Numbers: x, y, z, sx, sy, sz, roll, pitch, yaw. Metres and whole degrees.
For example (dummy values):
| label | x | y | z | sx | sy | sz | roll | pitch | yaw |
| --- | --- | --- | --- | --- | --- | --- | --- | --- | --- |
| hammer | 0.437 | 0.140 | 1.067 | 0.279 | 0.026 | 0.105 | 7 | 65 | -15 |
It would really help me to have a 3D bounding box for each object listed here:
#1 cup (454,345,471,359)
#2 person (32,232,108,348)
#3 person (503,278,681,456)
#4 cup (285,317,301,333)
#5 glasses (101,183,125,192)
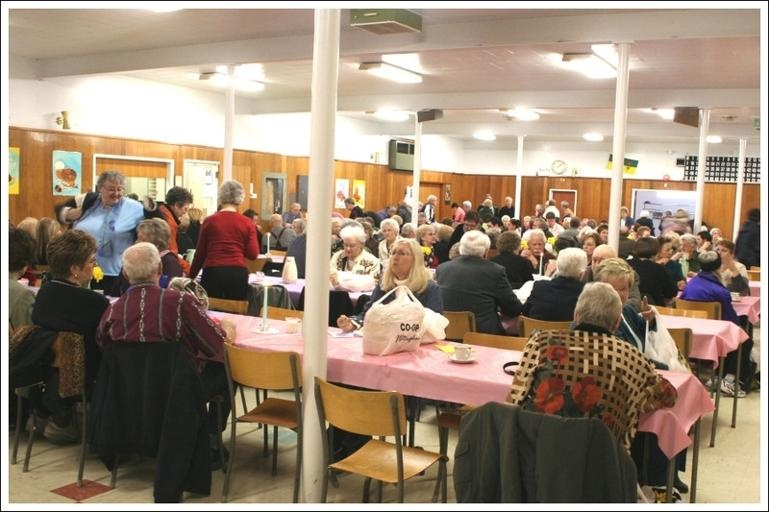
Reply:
| label | x | y | z | sx | sy | sz | roll | pitch | yaw |
| --- | --- | --- | --- | --- | --- | --- | --- | --- | --- |
| cup | 0.513 | 0.633 | 4.107 | 0.074 | 0.067 | 0.098 | 0 | 3 | -27 |
| person | -2.209 | 0.226 | 4.442 | 0.552 | 0.807 | 0.245 | 3 | 3 | 2 |
| person | 1.240 | 0.681 | 3.747 | 0.846 | 1.106 | 0.574 | 13 | 37 | 21 |
| cup | -0.693 | 0.528 | 4.751 | 0.111 | 0.082 | 0.085 | 1 | -1 | -23 |
| glasses | -2.576 | -0.634 | 5.884 | 0.105 | 0.053 | 0.125 | 0 | -8 | -33 |
